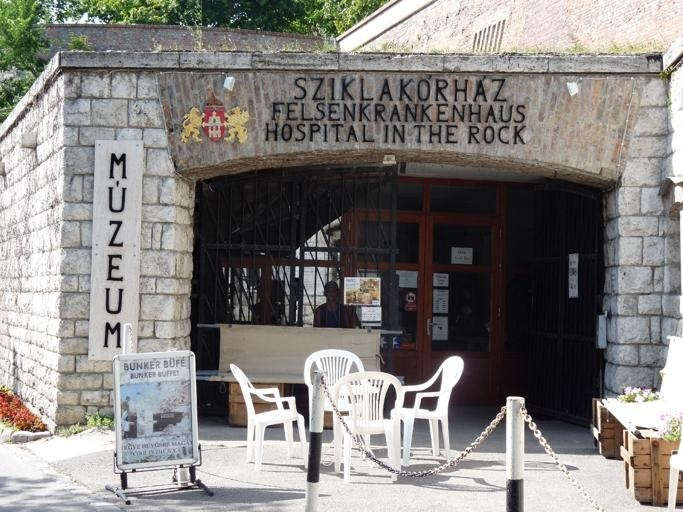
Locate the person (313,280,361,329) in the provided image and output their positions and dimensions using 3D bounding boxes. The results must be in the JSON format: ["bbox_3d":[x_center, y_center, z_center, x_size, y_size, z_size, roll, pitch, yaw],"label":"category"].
[{"bbox_3d":[-0.040,0.775,16.479,0.593,0.808,0.202,-4,6,-11],"label":"person"}]

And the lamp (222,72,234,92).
[{"bbox_3d":[-1.591,-2.471,15.075,0.170,0.226,0.072,1,-4,-9],"label":"lamp"}]
